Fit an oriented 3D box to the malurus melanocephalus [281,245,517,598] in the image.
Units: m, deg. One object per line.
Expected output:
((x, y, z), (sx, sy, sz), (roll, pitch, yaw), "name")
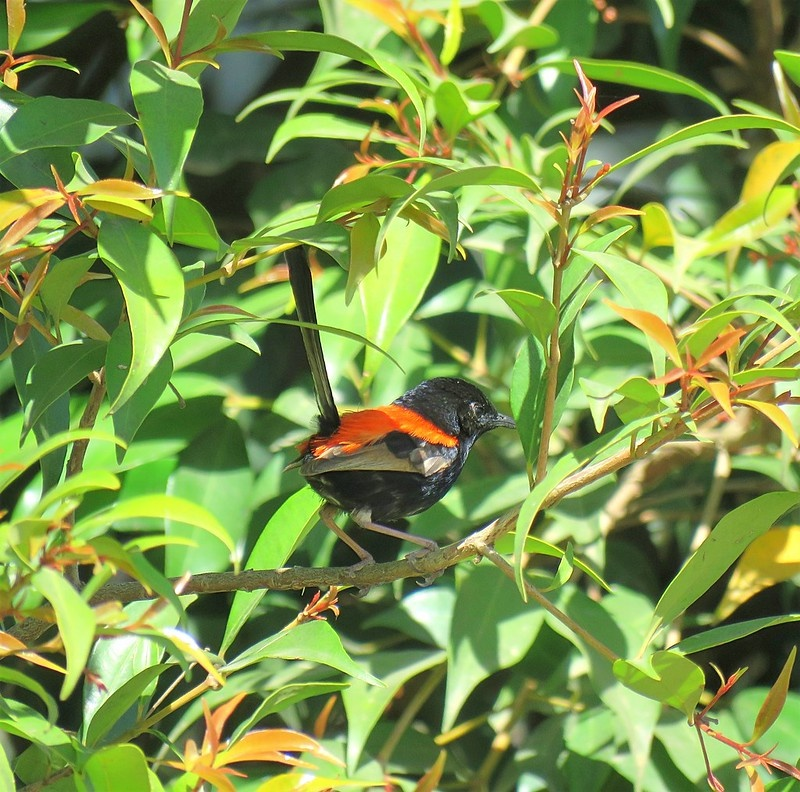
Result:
((-0.031, 0.076, 3.603), (0.387, 1.131, 0.895), (13, 90, 49), "malurus melanocephalus")
